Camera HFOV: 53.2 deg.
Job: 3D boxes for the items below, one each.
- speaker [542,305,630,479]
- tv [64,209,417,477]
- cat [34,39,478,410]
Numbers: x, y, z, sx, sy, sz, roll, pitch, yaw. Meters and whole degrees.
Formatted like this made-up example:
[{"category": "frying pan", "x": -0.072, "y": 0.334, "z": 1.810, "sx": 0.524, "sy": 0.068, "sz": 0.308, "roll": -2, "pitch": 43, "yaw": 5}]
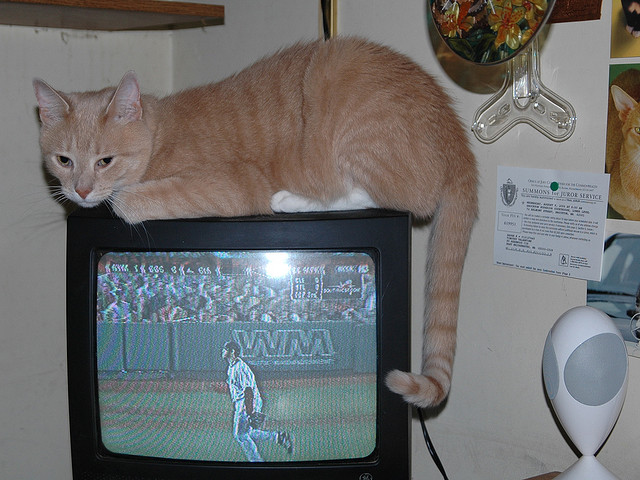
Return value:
[{"category": "speaker", "x": 0.605, "y": 0.361, "z": 1.457, "sx": 0.182, "sy": 0.409, "sz": 0.096, "roll": 1, "pitch": 2, "yaw": 25}, {"category": "tv", "x": -0.166, "y": 0.238, "z": 1.676, "sx": 0.873, "sy": 1.008, "sz": 0.546, "roll": 0, "pitch": 0, "yaw": 6}, {"category": "cat", "x": -0.176, "y": 0.023, "z": 1.932, "sx": 0.883, "sy": 0.334, "sz": 1.105, "roll": 1, "pitch": 45, "yaw": 0}]
